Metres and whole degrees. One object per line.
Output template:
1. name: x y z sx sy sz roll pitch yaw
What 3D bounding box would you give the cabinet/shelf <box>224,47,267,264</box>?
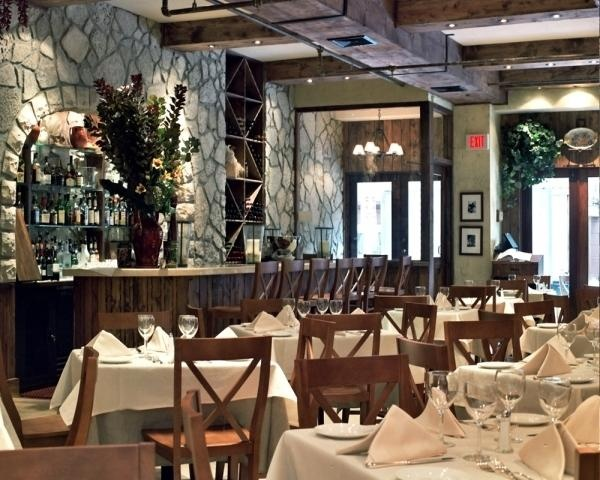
1. cabinet/shelf: -0.920 -1.503 10.173 0.773 2.776 0.319 8 26 11

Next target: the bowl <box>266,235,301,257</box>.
1. bowl: -0.296 0.102 10.223 0.343 0.304 0.389 -3 -6 23

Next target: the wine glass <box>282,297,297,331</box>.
1. wine glass: -0.073 0.577 4.989 0.158 0.315 0.161 -6 -10 41

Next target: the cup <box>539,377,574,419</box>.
1. cup: 0.834 0.532 2.011 0.089 0.129 0.172 -2 0 28

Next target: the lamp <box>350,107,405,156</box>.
1. lamp: 1.651 -2.257 12.806 0.724 0.855 0.846 -6 8 -19

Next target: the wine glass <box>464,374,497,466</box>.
1. wine glass: 0.595 0.588 2.051 0.101 0.233 0.265 -2 0 13

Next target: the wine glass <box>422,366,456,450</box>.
1. wine glass: 0.488 0.579 2.148 0.098 0.215 0.227 -2 0 11

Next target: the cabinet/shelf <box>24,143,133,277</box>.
1. cabinet/shelf: -2.533 -0.360 6.902 0.387 1.522 1.180 -5 1 36

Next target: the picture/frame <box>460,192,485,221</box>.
1. picture/frame: 3.237 -0.643 11.536 0.416 0.723 0.062 0 -1 22

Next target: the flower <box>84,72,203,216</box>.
1. flower: -1.671 -1.038 6.560 0.911 1.383 0.874 -7 15 -38

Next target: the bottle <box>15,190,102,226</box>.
1. bottle: -2.708 -0.373 6.958 0.228 0.436 1.065 -2 0 31

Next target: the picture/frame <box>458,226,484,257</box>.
1. picture/frame: 3.226 0.020 11.582 0.434 0.697 0.043 1 -1 24

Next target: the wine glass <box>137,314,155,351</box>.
1. wine glass: -0.943 0.559 3.789 0.093 0.236 0.393 -2 -1 -14

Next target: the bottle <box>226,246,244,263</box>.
1. bottle: -1.056 0.231 9.866 0.208 0.267 0.228 -4 10 1

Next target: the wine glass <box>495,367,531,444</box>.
1. wine glass: 0.676 0.505 1.984 0.081 0.182 0.152 -2 0 30

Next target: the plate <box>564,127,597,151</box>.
1. plate: 4.664 -1.673 10.249 0.438 0.190 0.510 -15 -44 23
